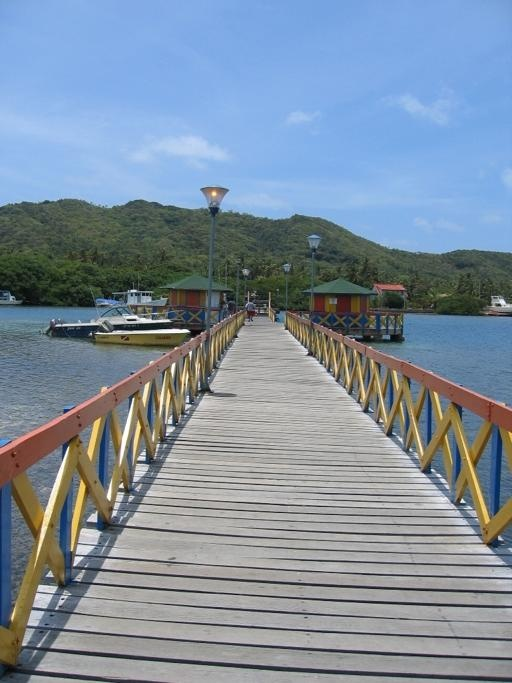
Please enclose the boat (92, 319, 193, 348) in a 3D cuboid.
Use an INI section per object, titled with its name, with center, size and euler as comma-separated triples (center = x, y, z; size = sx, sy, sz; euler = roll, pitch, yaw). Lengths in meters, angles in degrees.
[boat]
center = -6.348, -0.406, 31.989
size = 4.378, 0.991, 1.544
euler = 1, 8, 6
